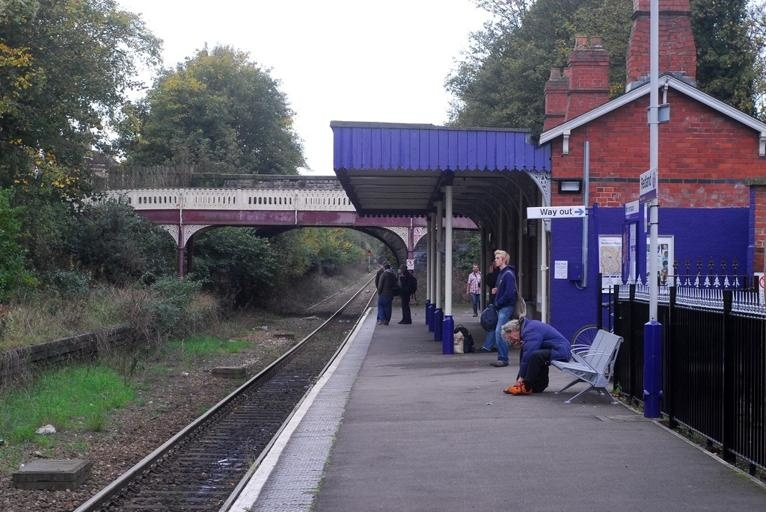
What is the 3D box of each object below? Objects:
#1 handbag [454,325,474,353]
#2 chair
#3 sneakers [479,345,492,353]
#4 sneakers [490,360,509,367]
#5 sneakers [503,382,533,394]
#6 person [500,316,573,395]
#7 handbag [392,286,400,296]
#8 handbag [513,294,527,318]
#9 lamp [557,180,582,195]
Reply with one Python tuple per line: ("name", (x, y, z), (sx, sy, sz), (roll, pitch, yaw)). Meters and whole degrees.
("handbag", (1.898, 2.110, 21.916), (0.465, 0.682, 0.625), (0, -9, -5))
("chair", (3.787, 2.024, 16.496), (1.071, 1.313, 1.946), (-1, -3, 2))
("sneakers", (2.505, 2.335, 21.871), (0.128, 0.167, 0.374), (7, -2, -41))
("sneakers", (2.571, 2.392, 19.378), (0.365, 0.156, 0.139), (2, -7, -4))
("sneakers", (2.540, 2.508, 16.617), (0.483, 0.233, 0.208), (5, -6, -2))
("person", (2.945, 1.909, 16.803), (1.398, 1.429, 0.939), (-2, -2, -13))
("handbag", (0.427, 1.207, 30.097), (0.233, 0.443, 0.441), (1, -4, 3))
("handbag", (3.056, 1.137, 19.747), (0.318, 0.729, 0.668), (0, -4, 3))
("lamp", (4.418, -1.666, 20.725), (0.507, 0.370, 0.290), (0, 6, 2))
